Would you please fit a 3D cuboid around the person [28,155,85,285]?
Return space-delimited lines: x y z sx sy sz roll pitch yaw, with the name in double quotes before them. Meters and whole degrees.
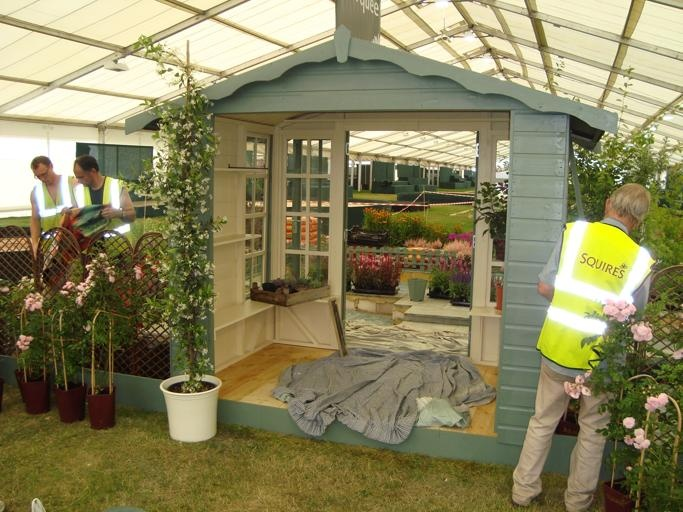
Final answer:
"person" -3.594 -0.227 6.613 0.627 2.055 0.532 -10 16 -27

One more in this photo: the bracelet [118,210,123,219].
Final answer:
"bracelet" -2.672 -0.520 6.278 0.022 0.077 0.081 0 -4 16

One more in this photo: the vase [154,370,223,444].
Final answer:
"vase" -1.514 1.530 5.185 0.614 0.461 0.628 2 5 3

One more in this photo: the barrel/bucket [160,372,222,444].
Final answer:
"barrel/bucket" -1.513 1.514 5.315 0.613 0.459 0.627 2 5 0
